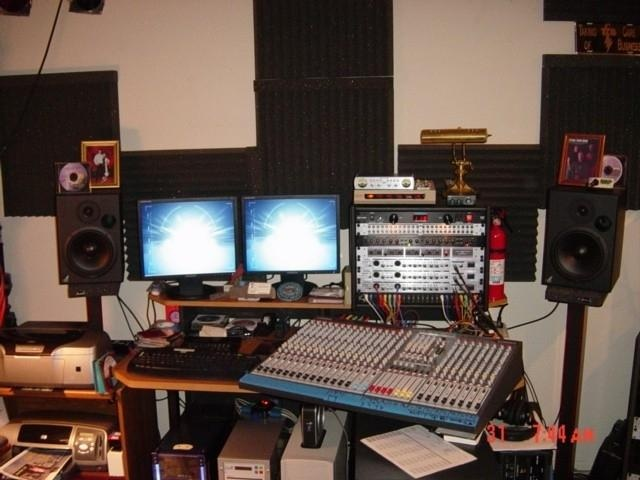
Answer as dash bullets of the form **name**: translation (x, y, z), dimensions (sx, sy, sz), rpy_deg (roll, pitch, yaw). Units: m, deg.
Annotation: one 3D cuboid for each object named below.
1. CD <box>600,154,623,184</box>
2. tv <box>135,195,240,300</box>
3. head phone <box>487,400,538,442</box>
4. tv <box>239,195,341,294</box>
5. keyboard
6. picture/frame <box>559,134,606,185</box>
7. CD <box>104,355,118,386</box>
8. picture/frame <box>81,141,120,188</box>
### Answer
- **CD**: translation (1.806, -0.432, 3.645), dimensions (0.131, 0.171, 0.068), rpy_deg (3, 12, 21)
- **tv**: translation (-0.848, 0.046, 3.879), dimensions (0.652, 0.670, 0.262), rpy_deg (0, 3, -2)
- **head phone**: translation (1.121, 1.015, 3.466), dimensions (0.273, 0.122, 0.342), rpy_deg (19, 15, 8)
- **tv**: translation (-0.197, 0.012, 3.862), dimensions (0.601, 0.622, 0.299), rpy_deg (0, 2, 3)
- **keyboard**: translation (-0.751, 0.745, 3.533), dimensions (0.782, 0.083, 0.264), rpy_deg (1, 11, 11)
- **picture/frame**: translation (1.629, -0.489, 3.656), dimensions (0.278, 0.403, 0.040), rpy_deg (6, -2, 13)
- **CD**: translation (-1.320, 0.815, 3.709), dimensions (0.084, 0.171, 0.118), rpy_deg (-2, 11, -25)
- **picture/frame**: translation (-1.460, -0.492, 3.934), dimensions (0.285, 0.396, 0.041), rpy_deg (1, 2, -5)
